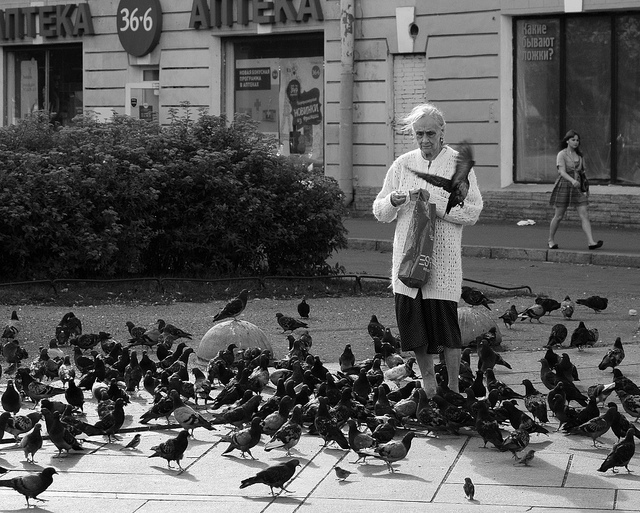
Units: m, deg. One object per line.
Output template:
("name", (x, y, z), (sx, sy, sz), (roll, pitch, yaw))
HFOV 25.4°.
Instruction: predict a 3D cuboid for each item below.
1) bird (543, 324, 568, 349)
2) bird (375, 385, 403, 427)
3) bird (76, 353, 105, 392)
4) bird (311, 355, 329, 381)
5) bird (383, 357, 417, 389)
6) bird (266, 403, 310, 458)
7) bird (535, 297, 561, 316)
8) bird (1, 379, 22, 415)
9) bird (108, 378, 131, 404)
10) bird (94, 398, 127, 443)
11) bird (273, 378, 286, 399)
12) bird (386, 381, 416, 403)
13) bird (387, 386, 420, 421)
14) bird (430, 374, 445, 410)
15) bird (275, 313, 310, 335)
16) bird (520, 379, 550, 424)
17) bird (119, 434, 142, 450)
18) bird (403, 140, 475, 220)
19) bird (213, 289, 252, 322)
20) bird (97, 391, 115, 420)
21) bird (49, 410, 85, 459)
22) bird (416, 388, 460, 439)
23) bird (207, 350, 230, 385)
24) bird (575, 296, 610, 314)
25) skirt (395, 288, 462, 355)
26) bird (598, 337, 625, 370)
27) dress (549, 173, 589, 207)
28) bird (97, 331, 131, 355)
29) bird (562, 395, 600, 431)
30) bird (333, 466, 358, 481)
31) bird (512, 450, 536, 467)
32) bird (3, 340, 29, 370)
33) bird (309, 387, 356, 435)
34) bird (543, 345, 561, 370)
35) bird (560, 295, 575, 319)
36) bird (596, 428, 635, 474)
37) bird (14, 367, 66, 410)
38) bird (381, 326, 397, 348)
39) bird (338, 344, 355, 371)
("bird", (2.972, 1.024, 17.866), (0.308, 0.296, 0.350), (0, 4, -8))
("bird", (0.687, 1.614, 15.108), (0.380, 0.427, 0.164), (-1, 6, 8))
("bird", (-2.691, 1.372, 16.448), (0.391, 0.494, 0.219), (-8, 3, -23))
("bird", (-0.032, 1.304, 16.165), (0.139, 0.286, 0.121), (-2, -35, -30))
("bird", (0.895, 1.348, 16.458), (0.494, 0.371, 0.197), (5, -15, -23))
("bird", (-0.284, 1.811, 14.557), (0.718, 0.486, 0.405), (-8, 11, -35))
("bird", (3.144, 0.693, 19.939), (0.422, 0.263, 0.151), (-16, -2, -32))
("bird", (-3.406, 1.559, 15.512), (0.211, 0.340, 0.316), (0, 4, -14))
("bird", (-2.289, 1.522, 15.744), (0.146, 0.205, 0.291), (-6, -31, 37))
("bird", (-2.245, 1.725, 14.982), (0.335, 0.512, 0.244), (2, 13, 10))
("bird", (-0.447, 1.437, 15.394), (0.069, 0.245, 0.102), (1, -13, 6))
("bird", (0.876, 1.486, 15.440), (0.313, 0.249, 0.163), (16, -9, -25))
("bird", (0.881, 1.567, 15.191), (0.341, 0.331, 0.529), (1, 4, 3))
("bird", (1.236, 1.434, 15.227), (0.107, 0.369, 0.153), (-1, -19, 28))
("bird", (-0.442, 0.888, 19.103), (0.523, 0.334, 0.183), (-10, -3, -8))
("bird", (2.329, 1.575, 15.323), (0.283, 0.385, 0.582), (2, 4, 8))
("bird", (-1.972, 1.939, 14.679), (0.240, 0.127, 0.108), (-3, 6, -45))
("bird", (1.438, -0.848, 15.128), (0.810, 0.742, 0.703), (-8, 4, -20))
("bird", (-1.150, 0.634, 18.081), (0.515, 0.405, 0.265), (-3, 8, -13))
("bird", (-2.337, 1.626, 15.439), (0.115, 0.241, 0.365), (0, 0, -11))
("bird", (-2.633, 1.818, 14.548), (0.223, 0.462, 0.395), (1, 5, 32))
("bird", (1.170, 1.705, 15.096), (0.553, 0.582, 0.300), (9, -17, -2))
("bird", (-1.246, 1.305, 16.706), (0.143, 0.282, 0.433), (-2, 9, 21))
("bird", (3.890, 0.692, 20.318), (0.419, 0.227, 0.324), (2, 5, 14))
("skirt", (1.135, 0.703, 15.211), (0.572, 0.854, 0.388), (-2, -32, -2))
("bird", (3.425, 1.184, 16.669), (0.187, 0.368, 0.531), (4, 10, 40))
("dress", (4.490, -1.113, 25.748), (0.754, 0.806, 0.530), (2, 1, 9))
("bird", (-2.672, 1.100, 17.994), (0.194, 0.385, 0.579), (-6, 7, -38))
("bird", (2.742, 1.672, 14.907), (0.419, 0.388, 0.259), (-4, 12, 22))
("bird", (0.201, 2.148, 13.950), (0.135, 0.109, 0.101), (2, 4, 6))
("bird", (2.002, 2.029, 14.114), (0.246, 0.160, 0.092), (-1, -3, -18))
("bird", (-3.755, 1.201, 17.295), (0.209, 0.221, 0.321), (0, -1, -20))
("bird", (0.151, 1.683, 14.978), (0.567, 0.457, 0.211), (-25, -12, 2))
("bird", (2.691, 1.201, 16.656), (0.279, 0.298, 0.158), (3, 2, 41))
("bird", (3.448, 0.725, 19.809), (0.176, 0.287, 0.436), (2, 5, 10))
("bird", (2.985, 1.944, 14.015), (0.538, 0.370, 0.256), (-3, 5, -39))
("bird", (-3.184, 1.497, 16.080), (0.524, 0.414, 0.425), (0, 4, -16))
("bird", (0.885, 1.049, 17.757), (0.133, 0.248, 0.258), (-9, 33, -2))
("bird", (0.296, 1.231, 16.789), (0.143, 0.345, 0.308), (2, -29, -2))
